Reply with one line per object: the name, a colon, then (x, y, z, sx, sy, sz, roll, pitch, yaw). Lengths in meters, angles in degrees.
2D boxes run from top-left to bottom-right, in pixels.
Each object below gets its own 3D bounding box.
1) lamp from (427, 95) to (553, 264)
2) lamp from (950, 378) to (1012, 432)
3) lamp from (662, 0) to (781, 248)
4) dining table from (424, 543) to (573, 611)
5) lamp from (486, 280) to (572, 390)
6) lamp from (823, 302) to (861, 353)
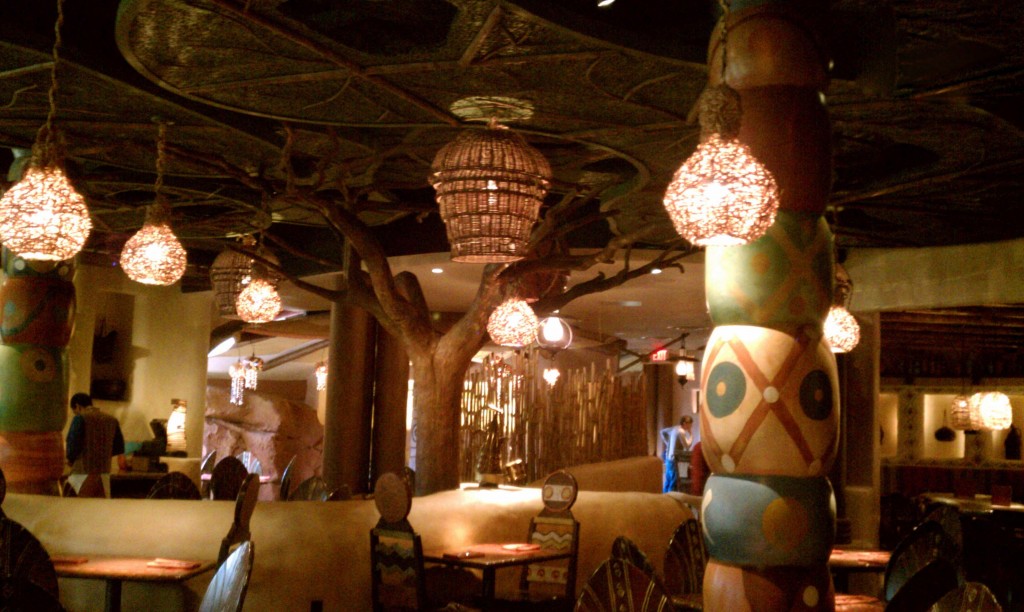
lamp: (-0.153, -0.854, 5.716, 0.857, 1.054, 0.287, 1, -7, -6)
lamp: (7.012, 1.555, 11.918, 0.596, 0.563, 0.726, -1, -7, 6)
lamp: (1.070, -0.763, 4.093, 0.563, 0.870, 0.221, -1, -7, 8)
dining table: (-0.110, 2.256, 6.603, 0.854, 0.493, 1.166, -6, -9, 38)
lamp: (0.161, 0.468, 7.936, 0.815, 1.245, 0.800, -7, 20, 0)
lamp: (3.054, 0.203, 7.352, 0.215, 0.401, 0.529, -4, -8, 29)
